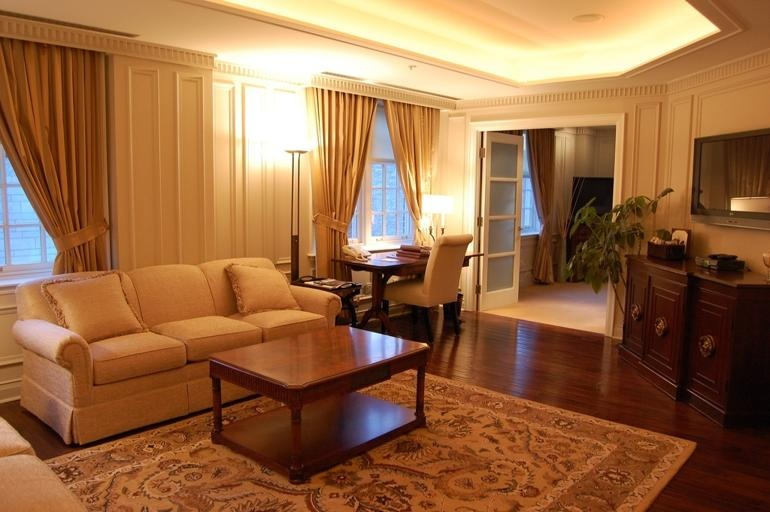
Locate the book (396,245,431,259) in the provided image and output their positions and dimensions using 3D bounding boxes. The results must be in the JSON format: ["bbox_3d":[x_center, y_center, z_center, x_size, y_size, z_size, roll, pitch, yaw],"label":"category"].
[{"bbox_3d":[0.427,-0.055,6.900,0.257,0.082,0.257,6,9,39],"label":"book"}]

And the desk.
[{"bbox_3d":[0.091,0.264,6.611,1.083,0.929,2.056,4,6,32],"label":"desk"}]

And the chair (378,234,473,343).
[{"bbox_3d":[0.542,0.315,6.568,0.757,1.262,0.709,14,18,43],"label":"chair"}]

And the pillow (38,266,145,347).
[{"bbox_3d":[-2.474,0.442,4.495,0.434,0.478,0.594,13,17,42],"label":"pillow"}]

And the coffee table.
[{"bbox_3d":[-0.492,1.110,4.296,1.327,0.635,1.643,3,5,30],"label":"coffee table"}]
